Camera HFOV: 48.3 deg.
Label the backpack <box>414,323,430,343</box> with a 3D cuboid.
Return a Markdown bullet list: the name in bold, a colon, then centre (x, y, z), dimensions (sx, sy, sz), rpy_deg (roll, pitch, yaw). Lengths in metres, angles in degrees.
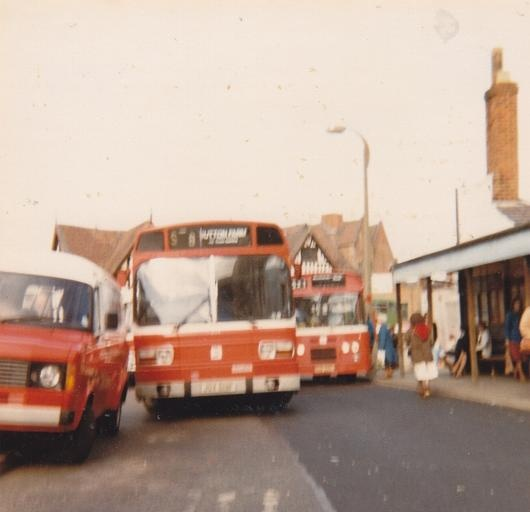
- **backpack**: centre (3.609, 1.748, 13.610), dimensions (0.308, 0.447, 0.109), rpy_deg (0, 4, -35)

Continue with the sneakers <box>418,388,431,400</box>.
- **sneakers**: centre (3.594, 3.106, 13.368), dimensions (0.221, 0.222, 0.428), rpy_deg (-4, -8, 18)

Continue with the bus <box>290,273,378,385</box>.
- **bus**: centre (2.023, 1.957, 17.823), dimensions (1.515, 2.181, 3.917), rpy_deg (-3, -7, 4)
